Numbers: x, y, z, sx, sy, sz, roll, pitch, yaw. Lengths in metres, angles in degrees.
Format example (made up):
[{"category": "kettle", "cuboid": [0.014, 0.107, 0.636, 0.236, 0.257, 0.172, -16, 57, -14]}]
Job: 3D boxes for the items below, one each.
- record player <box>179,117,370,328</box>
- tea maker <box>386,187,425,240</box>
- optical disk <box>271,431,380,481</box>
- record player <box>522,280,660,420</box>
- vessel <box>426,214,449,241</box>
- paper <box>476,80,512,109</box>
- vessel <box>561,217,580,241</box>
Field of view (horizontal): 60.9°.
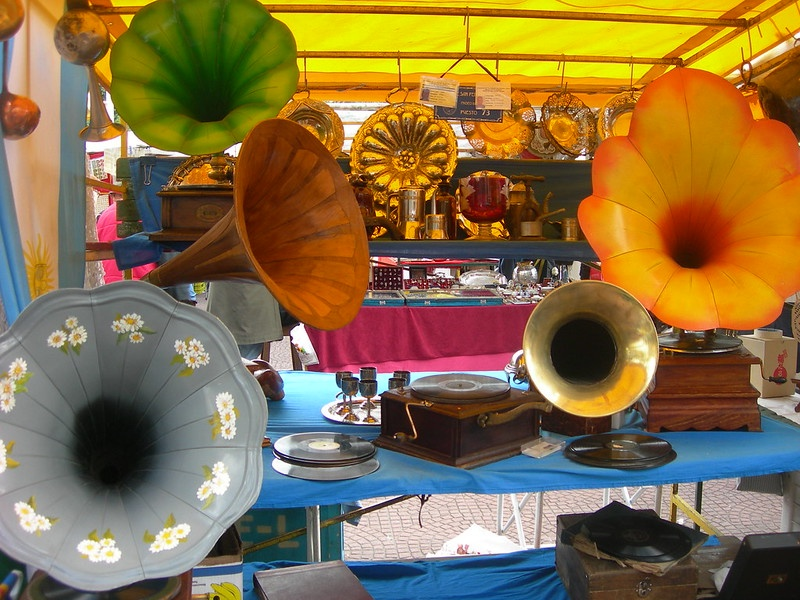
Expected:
[{"category": "record player", "cuboid": [-0.498, -0.169, 2.456, 0.668, 0.669, 0.635, -23, -16, 35]}, {"category": "tea maker", "cuboid": [0.068, -0.396, 3.134, 0.181, 0.234, 0.176, 1, 7, 3]}, {"category": "optical disk", "cuboid": [-0.258, 0.512, 2.431, 0.331, 0.110, 0.321, -4, 11, -25]}, {"category": "record player", "cuboid": [0.704, 0.179, 2.659, 0.401, 0.598, 0.523, 0, 3, -3]}, {"category": "vessel", "cuboid": [0.161, -0.323, 3.073, 0.111, 0.106, 0.117, -2, 4, -6]}, {"category": "paper", "cuboid": [0.518, -1.145, 3.819, 0.231, 0.187, 0.032, 0, -3, 6]}, {"category": "vessel", "cuboid": [0.807, -0.335, 3.246, 0.120, 0.110, 0.092, 5, -7, -38]}]
